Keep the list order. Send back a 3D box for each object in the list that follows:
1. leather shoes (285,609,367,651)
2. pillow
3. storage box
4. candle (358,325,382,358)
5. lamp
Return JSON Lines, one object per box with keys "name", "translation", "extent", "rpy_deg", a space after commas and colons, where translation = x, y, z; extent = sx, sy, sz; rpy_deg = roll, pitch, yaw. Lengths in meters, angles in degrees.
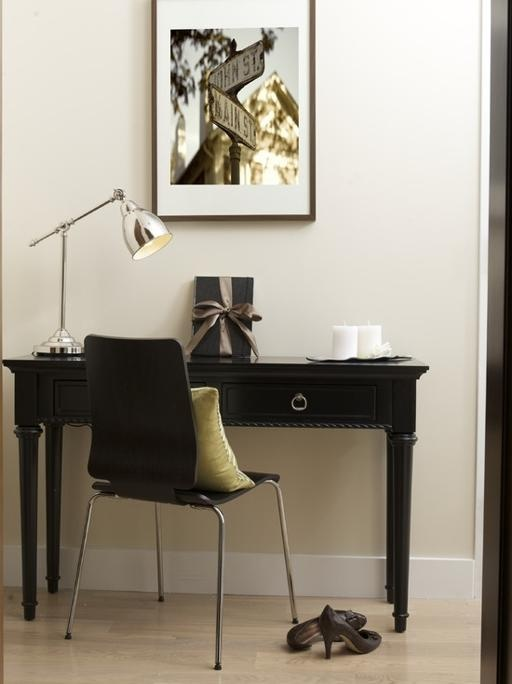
{"name": "leather shoes", "translation": [0.173, 0.702, 1.832], "extent": [0.201, 0.068, 0.093], "rpy_deg": [-18, 5, -34]}
{"name": "pillow", "translation": [-0.072, 0.224, 1.695], "extent": [0.140, 0.254, 0.115], "rpy_deg": [0, 4, -1]}
{"name": "storage box", "translation": [-0.096, -0.064, 2.198], "extent": [0.180, 0.232, 0.082], "rpy_deg": [1, -8, -2]}
{"name": "candle", "translation": [0.306, -0.006, 1.997], "extent": [0.067, 0.093, 0.074], "rpy_deg": [0, 1, 0]}
{"name": "lamp", "translation": [-0.439, -0.206, 2.108], "extent": [0.422, 0.476, 0.368], "rpy_deg": [0, 4, 0]}
